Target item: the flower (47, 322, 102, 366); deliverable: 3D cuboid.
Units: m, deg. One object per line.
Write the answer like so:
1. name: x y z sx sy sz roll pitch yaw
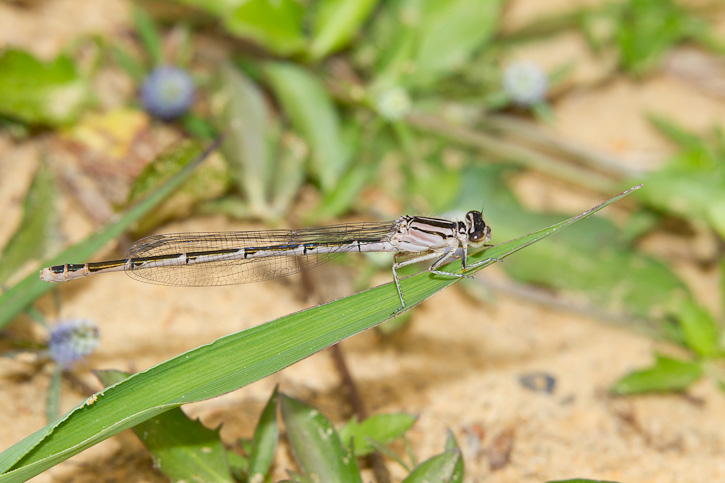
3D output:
1. flower: -1.494 0.533 3.667 0.245 0.086 0.208 -8 51 -13

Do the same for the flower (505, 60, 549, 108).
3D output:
1. flower: 0.885 -0.858 3.888 0.248 0.174 0.170 12 50 4
